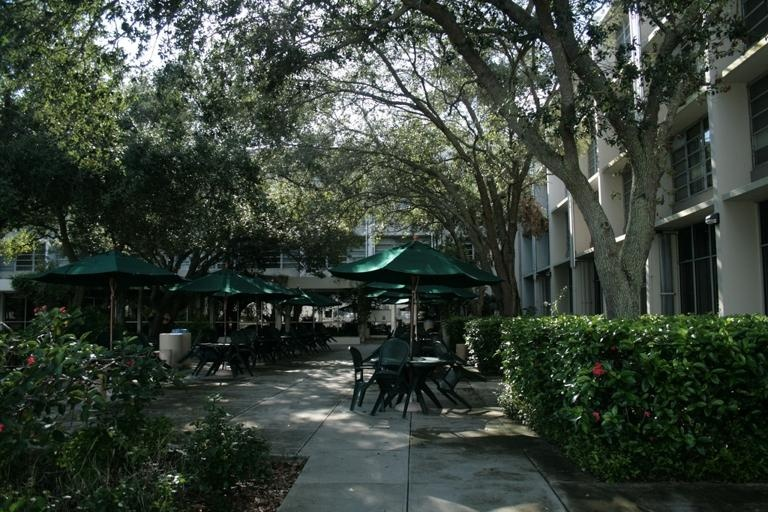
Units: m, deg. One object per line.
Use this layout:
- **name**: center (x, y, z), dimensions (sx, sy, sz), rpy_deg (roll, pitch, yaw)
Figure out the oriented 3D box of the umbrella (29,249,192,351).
- **umbrella**: center (-6.505, 1.125, 15.496), dimensions (3.003, 2.184, 2.650), rpy_deg (-4, -12, 23)
